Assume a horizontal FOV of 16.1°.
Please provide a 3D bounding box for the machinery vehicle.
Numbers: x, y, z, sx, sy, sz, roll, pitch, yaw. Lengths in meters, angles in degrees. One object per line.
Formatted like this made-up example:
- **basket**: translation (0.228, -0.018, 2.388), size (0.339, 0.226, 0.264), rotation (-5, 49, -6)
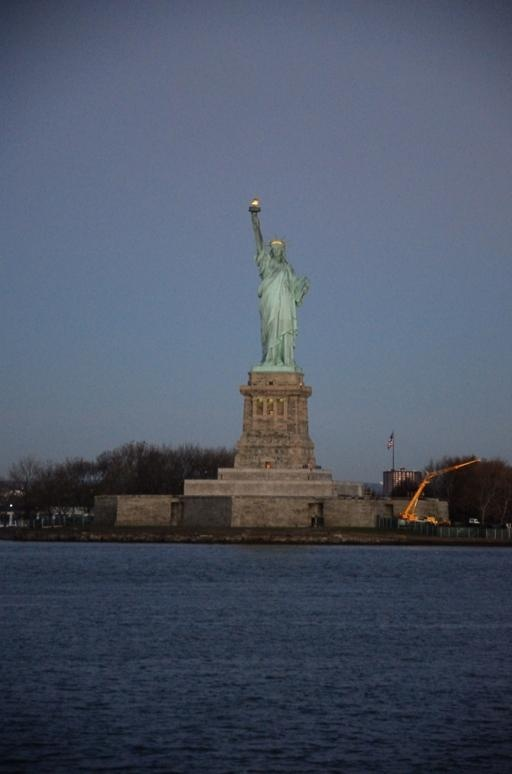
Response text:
- **machinery vehicle**: translation (8.271, 4.649, 82.077), size (3.241, 1.047, 4.512), rotation (-1, -49, -3)
